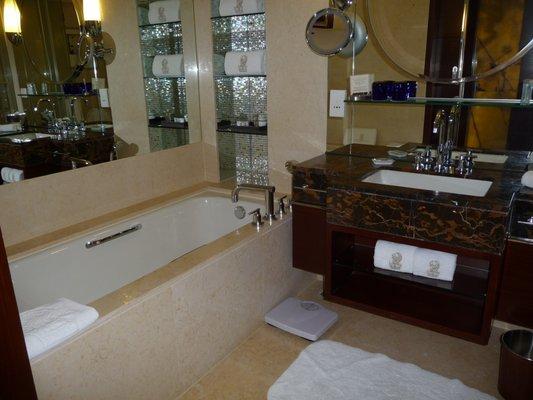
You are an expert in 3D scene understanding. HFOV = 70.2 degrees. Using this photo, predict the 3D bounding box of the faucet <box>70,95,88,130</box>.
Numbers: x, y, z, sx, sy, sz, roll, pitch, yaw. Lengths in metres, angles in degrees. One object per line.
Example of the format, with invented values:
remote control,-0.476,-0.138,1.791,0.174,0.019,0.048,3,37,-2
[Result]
faucet,-1.248,-0.564,2.531,0.117,0.236,0.057,-3,-13,-22

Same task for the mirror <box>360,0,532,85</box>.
mirror,1.042,-0.953,2.272,0.931,0.519,0.082,10,20,33

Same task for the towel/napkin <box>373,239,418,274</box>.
towel/napkin,0.738,0.317,2.144,0.181,0.078,0.247,6,-4,13

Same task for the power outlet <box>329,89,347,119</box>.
power outlet,0.505,-0.677,2.665,0.163,0.255,0.033,9,16,34

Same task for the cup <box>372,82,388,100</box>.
cup,0.719,-0.689,2.428,0.101,0.123,0.105,0,15,0

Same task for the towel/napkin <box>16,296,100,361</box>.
towel/napkin,-0.884,0.515,1.630,0.275,0.087,0.274,-13,21,-37

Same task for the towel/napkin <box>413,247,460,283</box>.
towel/napkin,0.916,0.360,2.093,0.208,0.164,0.061,7,18,24

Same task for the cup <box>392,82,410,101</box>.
cup,0.828,-0.675,2.364,0.103,0.126,0.107,0,18,0

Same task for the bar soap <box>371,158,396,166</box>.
bar soap,0.754,-0.241,2.452,0.131,0.034,0.099,4,17,15
